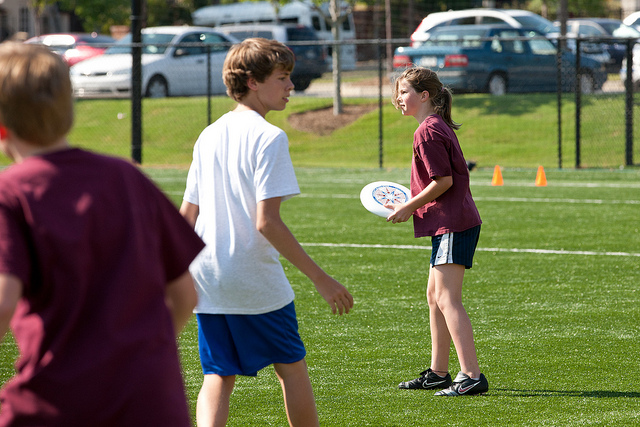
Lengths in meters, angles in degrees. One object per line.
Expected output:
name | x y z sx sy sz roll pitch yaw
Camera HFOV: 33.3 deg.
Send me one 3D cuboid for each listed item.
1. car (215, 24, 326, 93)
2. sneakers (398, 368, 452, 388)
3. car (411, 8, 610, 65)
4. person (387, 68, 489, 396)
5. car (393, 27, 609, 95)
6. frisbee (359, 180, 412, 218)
car | -1.487 -3.802 25.111 2.148 0.935 1.099 7 29 35
sneakers | 0.785 1.238 8.090 0.397 0.151 0.154 1 -5 6
car | 3.983 -4.115 22.784 3.975 1.292 1.736 -2 6 2
person | 0.838 0.134 7.865 0.655 2.372 0.729 -7 14 -22
car | 3.473 -2.827 19.715 4.041 1.301 2.272 -2 8 -9
frisbee | 0.492 -0.127 8.417 0.318 0.075 0.311 -5 35 -24
